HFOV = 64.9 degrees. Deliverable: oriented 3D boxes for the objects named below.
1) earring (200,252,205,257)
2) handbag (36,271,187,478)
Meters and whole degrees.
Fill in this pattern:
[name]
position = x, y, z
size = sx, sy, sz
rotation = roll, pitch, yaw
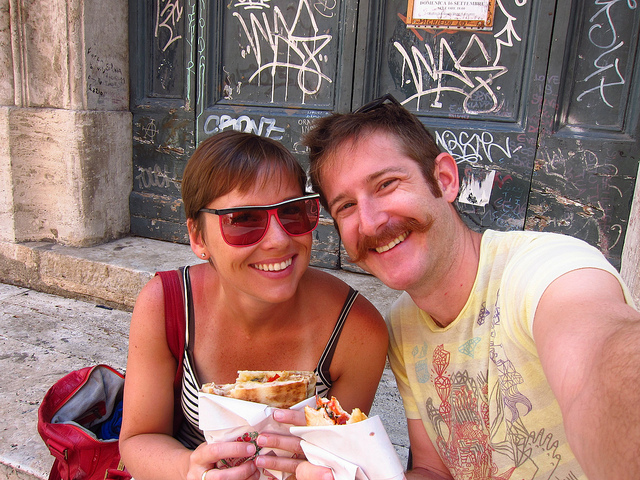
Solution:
[earring]
position = -0.596, 0.074, 2.566
size = 0.024, 0.024, 0.006
rotation = -2, 2, 6
[handbag]
position = -1.283, 0.836, 3.075
size = 0.850, 1.328, 0.908
rotation = -5, 13, -35
